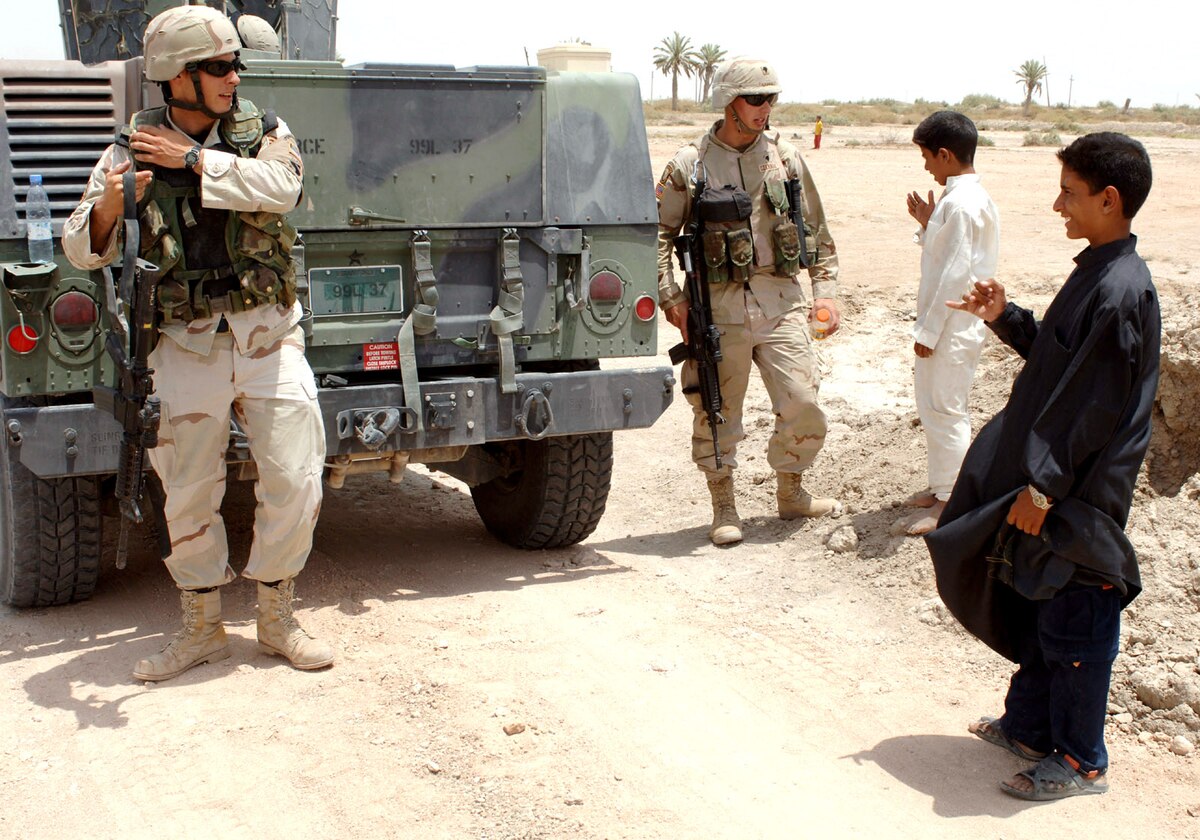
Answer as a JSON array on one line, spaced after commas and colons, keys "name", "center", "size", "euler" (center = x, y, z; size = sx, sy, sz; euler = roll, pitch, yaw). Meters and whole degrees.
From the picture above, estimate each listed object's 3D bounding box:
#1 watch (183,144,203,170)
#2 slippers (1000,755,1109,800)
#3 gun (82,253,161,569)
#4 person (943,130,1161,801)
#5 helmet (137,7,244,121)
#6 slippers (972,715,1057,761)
[{"name": "watch", "center": [-1.686, -1.077, 4.466], "size": [0.074, 0.099, 0.088], "euler": [-5, 11, -19]}, {"name": "slippers", "center": [1.749, 1.370, 4.142], "size": [0.354, 0.140, 0.173], "euler": [1, 1, -2]}, {"name": "gun", "center": [-2.167, -0.096, 4.859], "size": [0.547, 1.476, 0.199], "euler": [10, 14, 18]}, {"name": "person", "center": [1.730, 0.180, 4.168], "size": [0.720, 2.500, 0.520], "euler": [3, 11, 26]}, {"name": "helmet", "center": [-1.695, -1.558, 4.653], "size": [0.440, 0.476, 0.368], "euler": [-2, 25, 0]}, {"name": "slippers", "center": [1.704, 1.306, 4.493], "size": [0.106, 0.081, 0.262], "euler": [-8, 25, -37]}]
